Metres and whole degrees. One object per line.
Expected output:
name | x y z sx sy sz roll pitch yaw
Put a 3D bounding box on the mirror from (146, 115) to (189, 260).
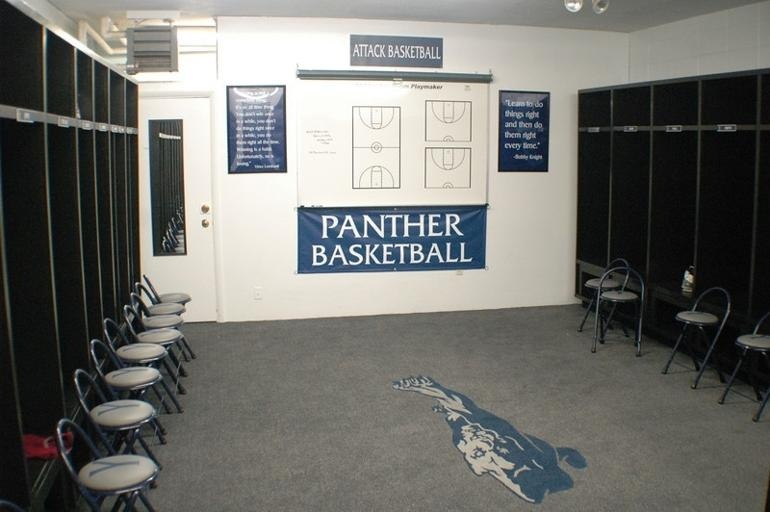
mirror | -2.746 -0.864 6.863 0.440 1.677 0.314 -2 14 -5
